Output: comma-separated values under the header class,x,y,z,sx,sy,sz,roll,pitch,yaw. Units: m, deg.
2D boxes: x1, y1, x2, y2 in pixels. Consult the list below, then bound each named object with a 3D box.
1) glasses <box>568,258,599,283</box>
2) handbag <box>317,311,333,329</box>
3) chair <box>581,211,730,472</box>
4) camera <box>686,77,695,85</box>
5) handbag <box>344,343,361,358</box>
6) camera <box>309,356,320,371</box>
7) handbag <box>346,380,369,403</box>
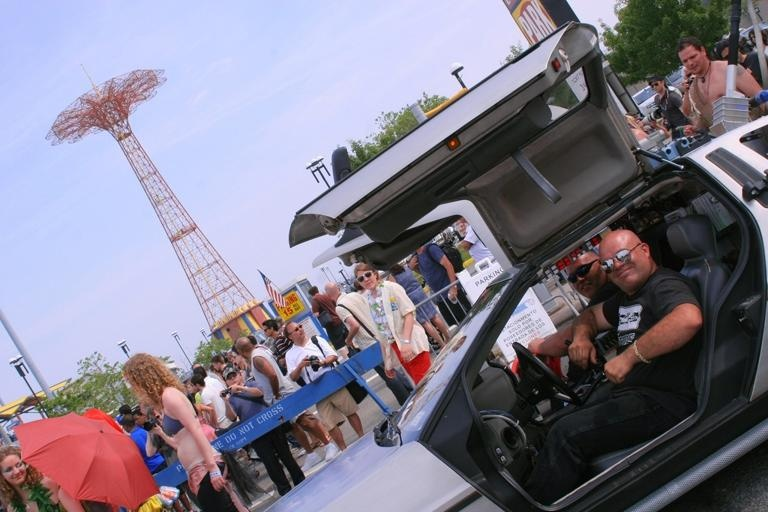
class,x,y,z,sx,sy,sz,roll,pitch,yaw
glasses,1.967,0.123,5.321,0.207,0.066,0.229,-37,22,44
handbag,-1.250,1.316,11.408,0.283,0.300,0.369,-25,-5,-32
chair,2.071,0.861,4.785,1.240,2.147,1.193,-6,-9,25
camera,4.341,-2.521,7.701,0.034,0.074,0.095,-10,7,-25
handbag,-0.600,1.782,10.068,0.188,0.271,0.656,-15,-14,-11
camera,-0.999,1.533,7.776,0.128,0.198,0.184,-1,-14,-10
handbag,-0.397,2.005,7.988,0.298,0.323,0.083,-10,0,-24
